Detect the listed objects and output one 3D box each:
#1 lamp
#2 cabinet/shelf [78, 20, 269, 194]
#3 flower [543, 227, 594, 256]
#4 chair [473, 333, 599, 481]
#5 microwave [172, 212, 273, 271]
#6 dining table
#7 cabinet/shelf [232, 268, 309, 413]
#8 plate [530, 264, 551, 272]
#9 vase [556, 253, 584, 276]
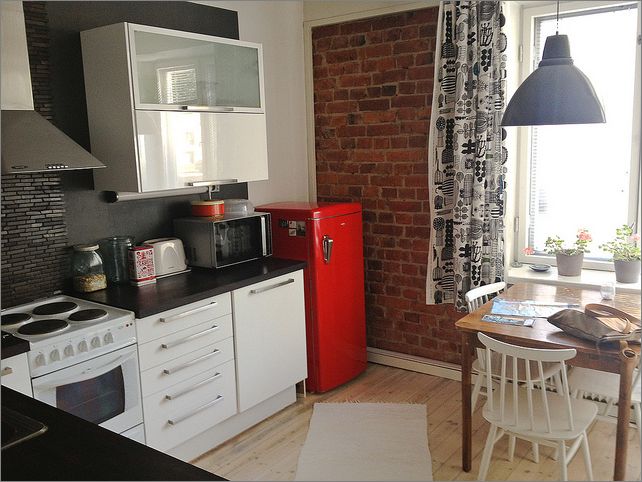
[{"bbox_3d":[1.190,-0.822,2.523,0.422,0.455,0.274,-3,14,-2],"label":"lamp"},{"bbox_3d":[-0.947,-0.864,3.474,0.417,0.980,1.167,11,18,32],"label":"cabinet/shelf"},{"bbox_3d":[1.852,0.013,3.730,0.321,0.203,0.283,5,16,27],"label":"flower"},{"bbox_3d":[1.224,0.932,2.828,0.598,0.983,0.696,5,16,26],"label":"chair"},{"bbox_3d":[-0.696,-0.124,3.576,0.432,0.350,0.587,6,12,32],"label":"microwave"},{"bbox_3d":[1.321,0.514,3.141,1.215,1.103,1.107,5,12,27],"label":"dining table"},{"bbox_3d":[-0.362,0.674,3.726,0.446,0.620,0.478,4,-10,13],"label":"cabinet/shelf"},{"bbox_3d":[1.702,0.207,3.856,0.142,0.045,0.141,5,16,29],"label":"plate"},{"bbox_3d":[1.815,0.173,3.635,0.185,0.140,0.163,-1,3,16],"label":"vase"}]
